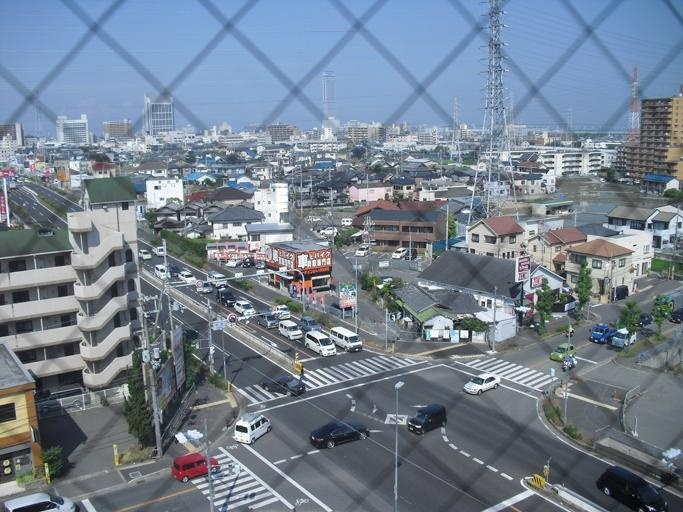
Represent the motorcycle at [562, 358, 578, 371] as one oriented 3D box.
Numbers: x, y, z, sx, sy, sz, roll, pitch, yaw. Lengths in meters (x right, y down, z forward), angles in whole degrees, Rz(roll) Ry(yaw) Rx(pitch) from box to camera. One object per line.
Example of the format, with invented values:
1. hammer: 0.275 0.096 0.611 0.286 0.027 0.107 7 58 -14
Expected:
1. motorcycle: 7.095 3.326 23.863 0.326 0.195 0.469 -4 7 35
